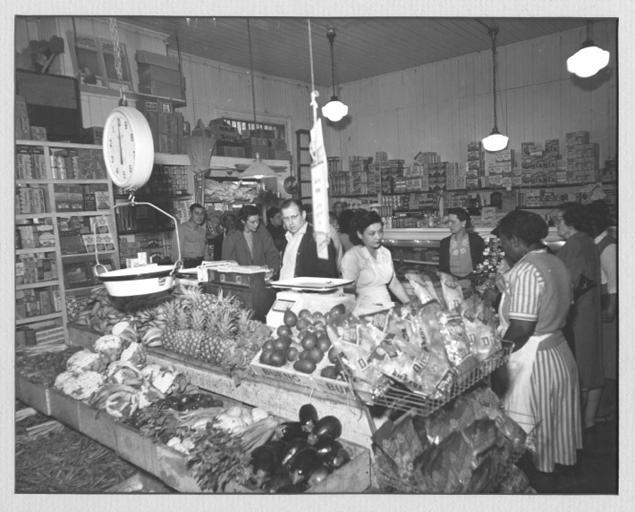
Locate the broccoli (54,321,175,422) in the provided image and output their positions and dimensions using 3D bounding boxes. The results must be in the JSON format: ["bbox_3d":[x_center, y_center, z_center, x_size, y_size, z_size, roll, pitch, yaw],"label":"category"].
[{"bbox_3d":[-1.322,0.779,3.245,0.610,0.193,0.498,15,34,39],"label":"broccoli"}]

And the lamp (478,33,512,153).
[{"bbox_3d":[2.297,-2.159,6.435,0.340,1.551,0.353,-12,13,-34],"label":"lamp"}]

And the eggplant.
[{"bbox_3d":[-0.087,1.012,2.626,0.503,0.330,0.321,-2,10,7],"label":"eggplant"}]

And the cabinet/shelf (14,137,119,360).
[{"bbox_3d":[-3.013,-0.280,5.805,1.066,2.785,0.442,-8,13,-44],"label":"cabinet/shelf"}]

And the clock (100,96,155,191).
[{"bbox_3d":[-1.313,-0.775,3.403,0.506,0.623,0.119,12,14,40],"label":"clock"}]

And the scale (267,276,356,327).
[{"bbox_3d":[-0.044,0.314,3.405,0.574,0.266,0.468,-5,4,-42],"label":"scale"}]
